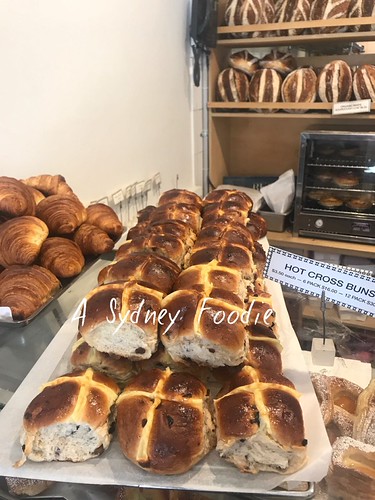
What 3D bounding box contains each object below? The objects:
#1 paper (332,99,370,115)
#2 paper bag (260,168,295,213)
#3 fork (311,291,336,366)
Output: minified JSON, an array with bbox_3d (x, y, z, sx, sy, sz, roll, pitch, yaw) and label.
[{"bbox_3d":[0.762,-0.663,1.887,0.143,0.075,0.028,5,46,35],"label":"paper"},{"bbox_3d":[0.501,-0.338,2.303,0.212,0.227,0.095,-15,13,-13],"label":"paper bag"},{"bbox_3d":[0.292,0.171,0.865,0.061,0.196,0.048,-4,39,6],"label":"fork"}]
